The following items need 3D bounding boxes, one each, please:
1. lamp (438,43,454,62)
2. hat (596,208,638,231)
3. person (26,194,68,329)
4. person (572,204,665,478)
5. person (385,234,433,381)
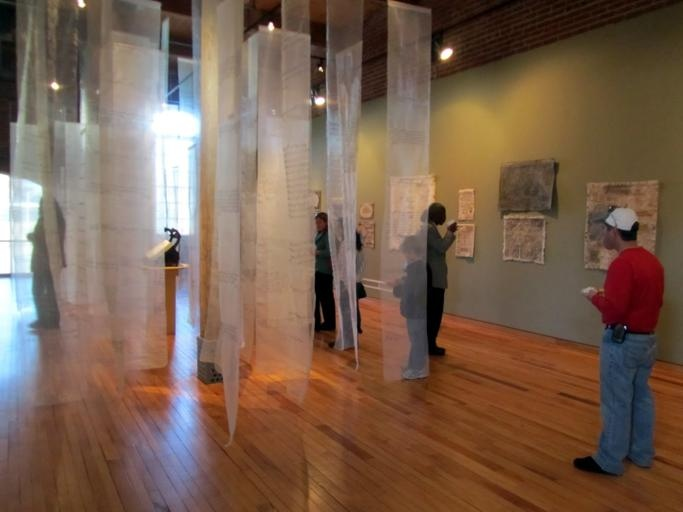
[{"bbox_3d":[1.559,-3.013,7.640,0.197,0.312,0.087,2,16,-24],"label":"lamp"},{"bbox_3d":[2.026,-0.270,3.759,0.157,0.126,0.238,0,22,2],"label":"hat"},{"bbox_3d":[-1.962,0.048,3.400,0.293,0.865,0.098,3,9,11],"label":"person"},{"bbox_3d":[2.013,0.616,3.681,0.557,1.887,0.416,7,11,34],"label":"person"},{"bbox_3d":[0.713,0.494,5.052,0.403,1.519,0.193,-5,11,-36],"label":"person"}]
